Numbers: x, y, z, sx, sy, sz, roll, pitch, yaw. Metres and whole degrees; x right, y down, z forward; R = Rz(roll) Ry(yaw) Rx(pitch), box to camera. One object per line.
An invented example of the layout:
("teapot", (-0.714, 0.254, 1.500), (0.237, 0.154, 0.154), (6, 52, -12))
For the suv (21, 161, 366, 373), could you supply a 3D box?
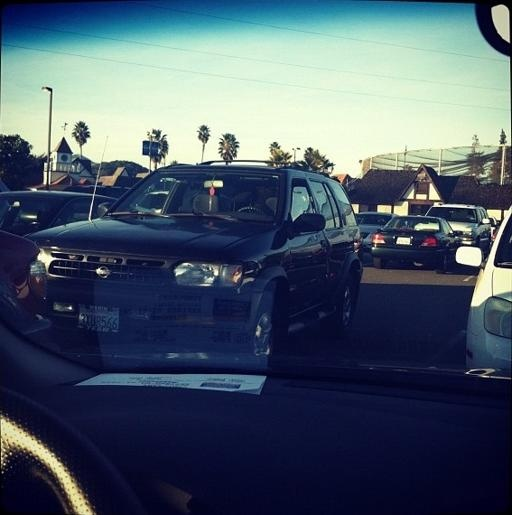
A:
("suv", (-0.333, -0.059, 5.148), (1.628, 1.193, 2.638), (0, -1, 24))
